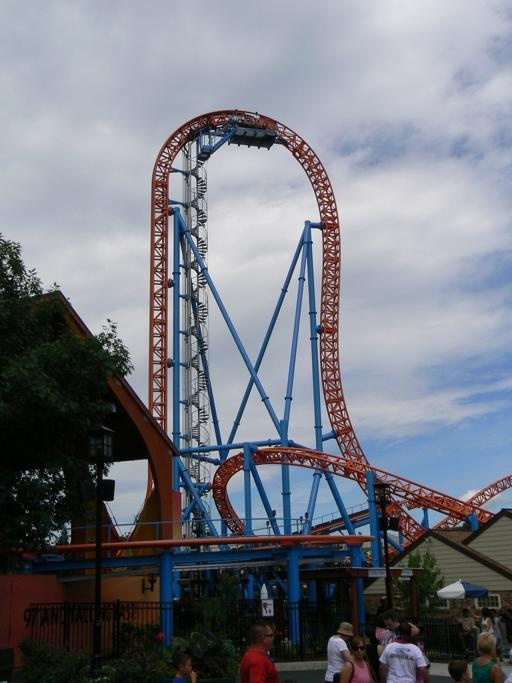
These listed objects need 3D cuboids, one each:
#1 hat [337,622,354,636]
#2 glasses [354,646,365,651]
[{"bbox_3d":[0.987,3.198,10.444,0.205,0.112,0.196,12,-17,1],"label":"hat"},{"bbox_3d":[1.091,3.188,9.829,0.099,0.064,0.052,8,-22,-41],"label":"glasses"}]
